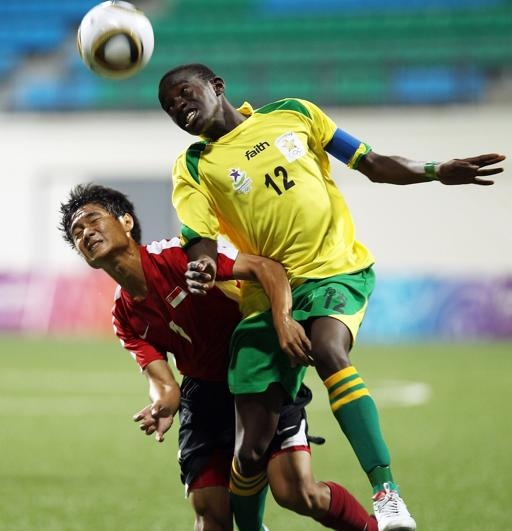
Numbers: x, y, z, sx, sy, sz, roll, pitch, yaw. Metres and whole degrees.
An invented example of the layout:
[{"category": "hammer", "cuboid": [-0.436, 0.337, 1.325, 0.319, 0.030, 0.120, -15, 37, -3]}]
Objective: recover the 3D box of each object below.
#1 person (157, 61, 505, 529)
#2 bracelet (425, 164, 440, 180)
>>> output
[{"category": "person", "cuboid": [0.199, 0.143, 3.089, 1.147, 2.056, 0.829, 2, 7, 36]}, {"category": "bracelet", "cuboid": [0.739, -0.393, 3.141, 0.074, 0.070, 0.048, -3, -1, -3]}]
